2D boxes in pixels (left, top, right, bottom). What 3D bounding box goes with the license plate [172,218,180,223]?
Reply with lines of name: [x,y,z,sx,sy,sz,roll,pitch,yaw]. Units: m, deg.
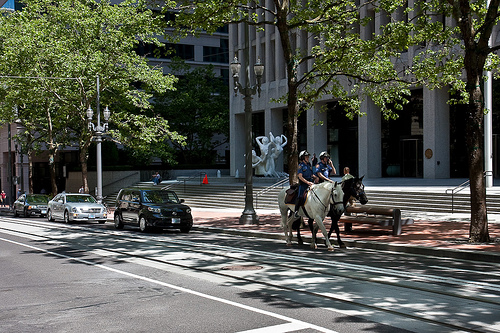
license plate: [-3.444,2.498,23.833,0.338,0.221,0.075,-1,0,-18]

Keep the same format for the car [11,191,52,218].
car: [-15.715,2.817,37.419,3.395,1.814,1.582,-2,0,42]

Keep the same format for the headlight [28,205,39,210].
headlight: [-15.257,2.887,36.456,0.388,0.164,0.301,3,-3,-18]

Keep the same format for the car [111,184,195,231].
car: [-4.758,2.099,25.105,4.176,1.900,1.755,-2,0,45]

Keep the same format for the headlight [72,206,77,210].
headlight: [-10.047,2.406,29.644,0.140,0.124,0.137,1,-2,16]

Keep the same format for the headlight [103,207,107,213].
headlight: [-8.502,2.554,30.227,0.201,0.372,0.202,1,-3,5]

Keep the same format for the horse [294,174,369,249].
horse: [2.414,1.666,19.443,0.922,2.488,3.726,-1,3,-23]

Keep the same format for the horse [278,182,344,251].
horse: [2.122,1.799,19.245,1.151,2.499,3.873,2,-3,-28]

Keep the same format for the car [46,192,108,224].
car: [-10.291,2.474,30.902,3.932,1.773,1.802,-2,0,44]

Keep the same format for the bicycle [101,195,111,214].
bicycle: [-11.211,2.977,40.382,0.637,1.221,2.789,4,14,-22]
